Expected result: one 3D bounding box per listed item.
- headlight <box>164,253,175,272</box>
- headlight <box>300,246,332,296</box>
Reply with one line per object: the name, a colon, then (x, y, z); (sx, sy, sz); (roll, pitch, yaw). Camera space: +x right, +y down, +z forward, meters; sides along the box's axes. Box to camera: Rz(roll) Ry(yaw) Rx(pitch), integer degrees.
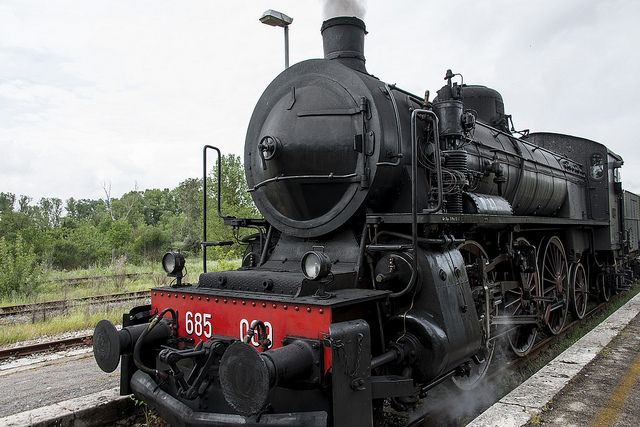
headlight: (-2.169, 0.713, 6.279); (0.088, 0.255, 0.224); (4, -11, -42)
headlight: (-0.050, 0.743, 5.389); (0.352, 0.717, 0.468); (9, -12, -44)
